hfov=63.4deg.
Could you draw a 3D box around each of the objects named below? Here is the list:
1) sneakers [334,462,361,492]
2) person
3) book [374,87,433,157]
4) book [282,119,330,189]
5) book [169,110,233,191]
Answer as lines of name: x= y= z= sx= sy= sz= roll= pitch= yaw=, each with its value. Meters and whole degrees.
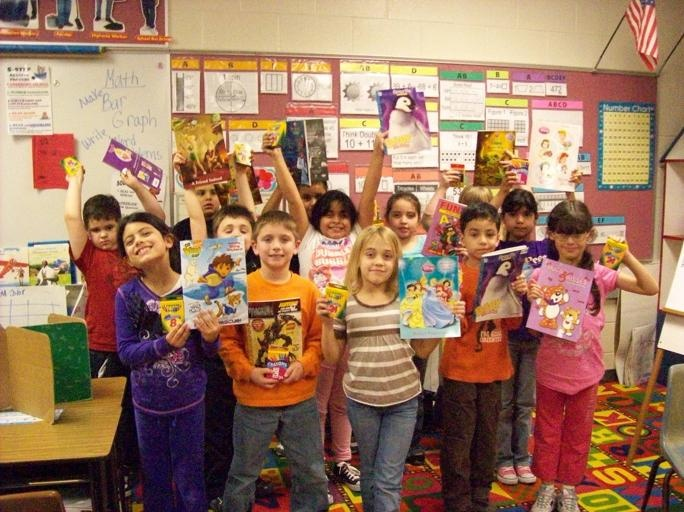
sneakers: x=0.023 y=1.195 z=3.022 sx=0.071 sy=0.079 sz=0.181 roll=5 pitch=-2 yaw=-34
person: x=-0.249 y=0.100 z=3.245 sx=2.432 sy=1.596 sz=0.837 roll=-5 pitch=14 yaw=-11
book: x=0.341 y=-0.748 z=3.068 sx=0.280 sy=0.346 sz=0.124 roll=-1 pitch=13 yaw=5
book: x=-0.207 y=-0.581 z=3.194 sx=0.328 sy=0.344 sz=0.081 roll=-3 pitch=0 yaw=12
book: x=-0.747 y=-0.563 z=2.970 sx=0.276 sy=0.377 sz=0.116 roll=-6 pitch=14 yaw=-14
